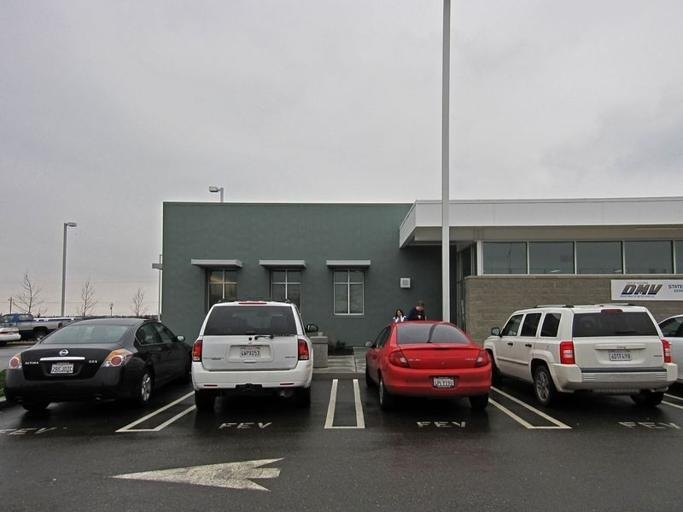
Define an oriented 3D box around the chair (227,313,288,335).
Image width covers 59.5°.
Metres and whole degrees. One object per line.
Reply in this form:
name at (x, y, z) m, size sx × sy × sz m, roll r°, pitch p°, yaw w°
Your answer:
chair at (-1.479, 1.273, 11.345) m, size 1.115 × 0.353 × 0.512 m, roll -1°, pitch 3°, yaw -11°
